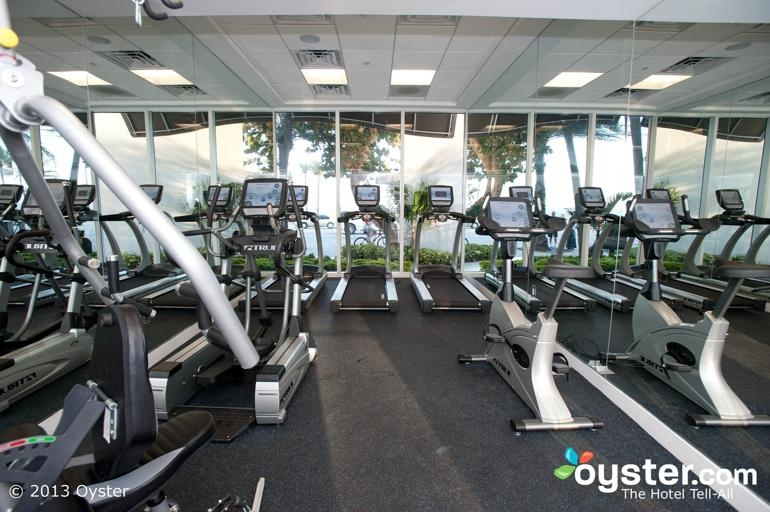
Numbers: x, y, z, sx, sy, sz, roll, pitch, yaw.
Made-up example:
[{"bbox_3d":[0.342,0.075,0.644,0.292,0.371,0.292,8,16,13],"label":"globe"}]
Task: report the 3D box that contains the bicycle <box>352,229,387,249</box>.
[{"bbox_3d":[-0.288,-0.303,8.710,0.608,0.358,0.286,0,17,3],"label":"bicycle"}]
